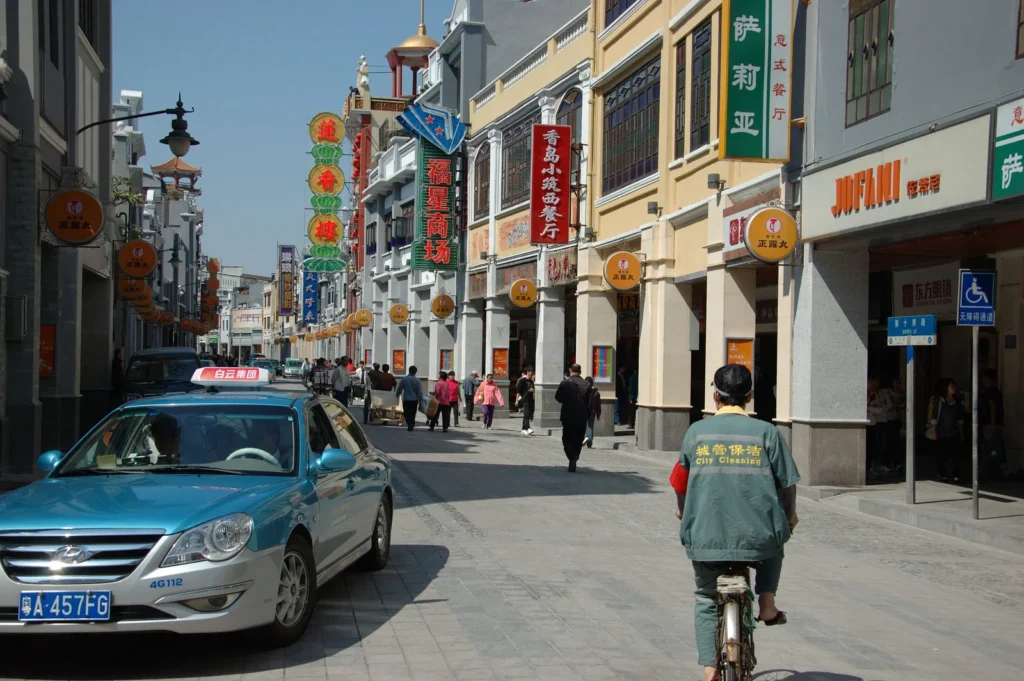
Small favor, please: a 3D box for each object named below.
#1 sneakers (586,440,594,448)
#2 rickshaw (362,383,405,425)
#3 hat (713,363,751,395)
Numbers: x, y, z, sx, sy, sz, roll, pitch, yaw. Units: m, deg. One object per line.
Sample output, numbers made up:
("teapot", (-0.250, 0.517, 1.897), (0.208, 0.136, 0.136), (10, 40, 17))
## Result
("sneakers", (1.963, 2.617, 29.890), (0.163, 0.199, 0.170), (5, 9, 27))
("rickshaw", (-4.335, 2.098, 39.610), (1.485, 1.559, 1.154), (1, 0, -3))
("hat", (1.955, 0.327, 10.317), (0.216, 0.164, 0.328), (2, 11, 9))
